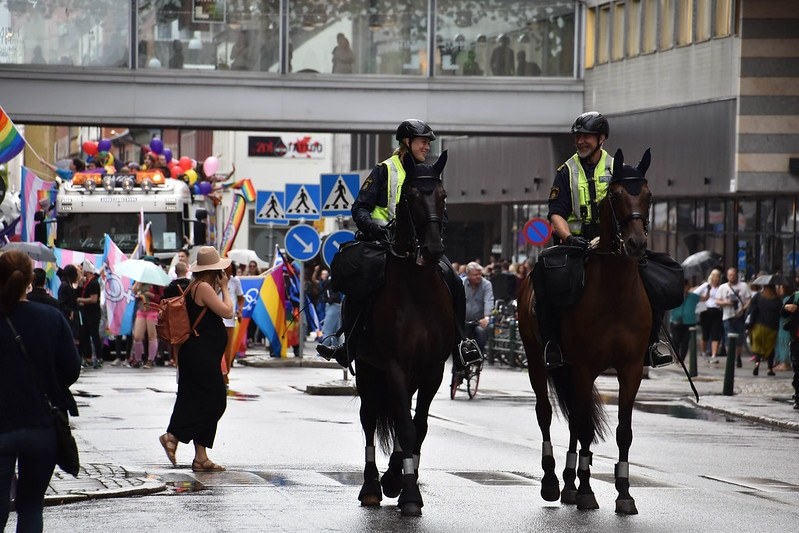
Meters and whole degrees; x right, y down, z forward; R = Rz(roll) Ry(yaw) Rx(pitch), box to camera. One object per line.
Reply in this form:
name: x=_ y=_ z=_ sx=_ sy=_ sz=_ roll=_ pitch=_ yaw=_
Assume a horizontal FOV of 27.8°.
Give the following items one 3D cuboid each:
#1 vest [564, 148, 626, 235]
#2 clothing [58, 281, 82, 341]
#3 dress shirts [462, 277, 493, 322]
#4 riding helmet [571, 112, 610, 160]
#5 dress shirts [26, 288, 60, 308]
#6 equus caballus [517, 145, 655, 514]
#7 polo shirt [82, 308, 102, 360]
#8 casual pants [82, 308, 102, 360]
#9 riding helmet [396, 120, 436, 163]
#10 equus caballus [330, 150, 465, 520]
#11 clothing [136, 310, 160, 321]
vest: x=2.919 y=-1.146 z=24.417 sx=0.758 sy=1.167 sz=0.764 roll=-9 pitch=-8 yaw=43
clothing: x=-7.159 y=1.090 z=34.865 sx=0.520 sy=1.893 sz=0.656 roll=2 pitch=1 yaw=-3
dress shirts: x=1.565 y=0.763 z=34.490 sx=0.802 sy=1.020 sz=0.612 roll=-4 pitch=-26 yaw=7
riding helmet: x=2.887 y=-1.999 z=24.346 sx=0.503 sy=0.713 sz=0.657 roll=4 pitch=1 yaw=33
dress shirts: x=-6.132 y=0.527 z=27.672 sx=0.509 sy=0.461 sz=0.287 roll=5 pitch=12 yaw=16
equus caballus: x=2.800 y=0.878 z=23.801 sx=1.099 sy=5.270 sz=2.097 roll=-2 pitch=5 yaw=-44
polo shirt: x=-7.203 y=1.554 z=38.042 sx=0.479 sy=1.398 sz=0.649 roll=-5 pitch=6 yaw=-26
casual pants: x=-7.245 y=1.553 z=37.955 sx=0.438 sy=1.397 sz=1.144 roll=1 pitch=4 yaw=-11
riding helmet: x=0.232 y=-1.880 z=24.260 sx=0.658 sy=0.706 sz=0.540 roll=-3 pitch=-2 yaw=29
equus caballus: x=-0.071 y=0.891 z=23.584 sx=1.583 sy=5.195 sz=1.313 roll=3 pitch=4 yaw=17
clothing: x=-5.934 y=1.136 z=37.758 sx=0.604 sy=0.285 sz=0.573 roll=2 pitch=4 yaw=2
